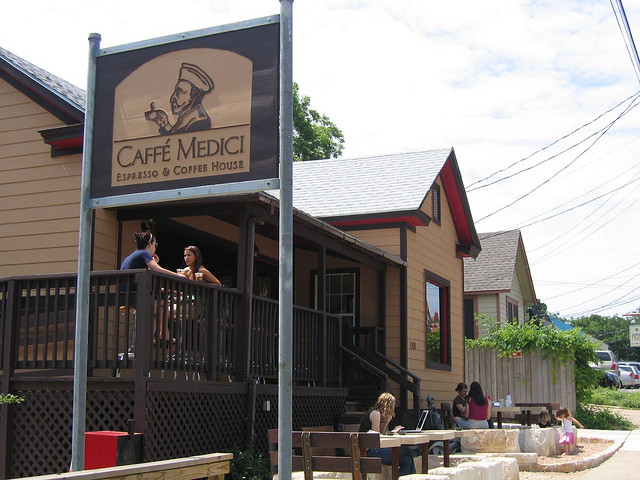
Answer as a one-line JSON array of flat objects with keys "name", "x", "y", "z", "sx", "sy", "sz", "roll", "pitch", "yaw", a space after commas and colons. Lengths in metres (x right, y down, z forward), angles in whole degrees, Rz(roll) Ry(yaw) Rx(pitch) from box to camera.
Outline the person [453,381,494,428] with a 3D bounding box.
[{"name": "person", "x": 3.498, "y": 3.807, "z": 15.270, "sx": 0.847, "sy": 1.126, "sz": 1.469, "roll": -5, "pitch": -18, "yaw": 10}]

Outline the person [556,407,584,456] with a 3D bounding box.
[{"name": "person", "x": 6.083, "y": 4.611, "z": 16.077, "sx": 0.490, "sy": 1.092, "sz": 1.884, "roll": -8, "pitch": -19, "yaw": 20}]

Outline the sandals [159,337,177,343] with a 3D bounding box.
[{"name": "sandals", "x": -2.111, "y": 1.386, "z": 9.192, "sx": 0.242, "sy": 0.095, "sz": 0.099, "roll": 1, "pitch": -6, "yaw": -9}]

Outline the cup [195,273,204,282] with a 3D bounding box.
[{"name": "cup", "x": -1.896, "y": 0.577, "z": 10.392, "sx": 0.111, "sy": 0.092, "sz": 0.117, "roll": -1, "pitch": -12, "yaw": 0}]

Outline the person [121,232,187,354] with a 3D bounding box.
[{"name": "person", "x": -2.441, "y": 0.541, "z": 9.612, "sx": 0.779, "sy": 1.339, "sz": 0.565, "roll": 7, "pitch": -7, "yaw": -37}]

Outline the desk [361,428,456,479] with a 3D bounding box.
[{"name": "desk", "x": 1.467, "y": 3.049, "z": 9.524, "sx": 0.929, "sy": 0.687, "sz": 3.105, "roll": -6, "pitch": -19, "yaw": 11}]
